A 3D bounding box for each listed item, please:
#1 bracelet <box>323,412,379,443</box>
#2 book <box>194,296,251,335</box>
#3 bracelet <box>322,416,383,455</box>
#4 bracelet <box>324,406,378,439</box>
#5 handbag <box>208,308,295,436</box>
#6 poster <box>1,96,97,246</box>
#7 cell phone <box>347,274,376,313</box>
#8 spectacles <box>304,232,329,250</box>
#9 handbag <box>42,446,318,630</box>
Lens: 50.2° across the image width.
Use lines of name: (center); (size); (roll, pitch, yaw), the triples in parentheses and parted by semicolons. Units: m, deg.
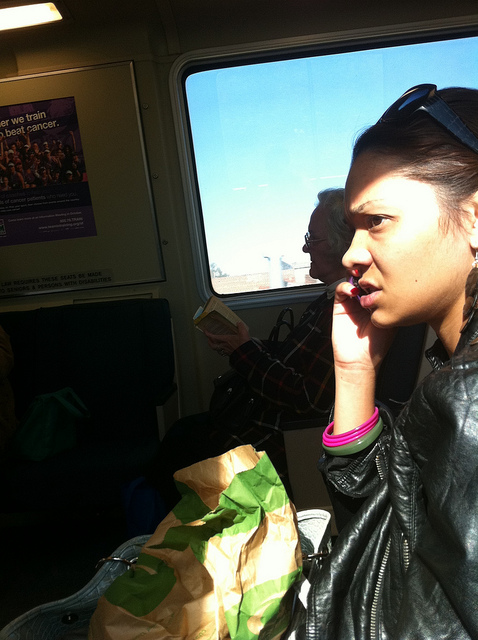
bracelet: (0.241, 0.244, 1.151); (0.122, 0.059, 0.110); (-1, 8, -5)
book: (-0.062, -0.019, 2.302); (0.188, 0.104, 0.067); (29, 10, -39)
bracelet: (0.255, 0.255, 1.092); (0.143, 0.056, 0.075); (-11, 11, -4)
bracelet: (0.242, 0.233, 1.152); (0.124, 0.064, 0.120); (1, 10, 5)
handbag: (0.026, 0.232, 2.222); (0.375, 0.451, 0.438); (-8, 11, 19)
poster: (-1.045, -0.760, 2.648); (0.560, 0.712, 0.065); (-10, 11, 9)
cell phone: (0.269, -0.055, 1.114); (0.022, 0.081, 0.062); (-48, 42, -2)
spectacles: (0.331, -0.356, 2.292); (0.059, 0.068, 0.188); (-13, 11, -10)
handbag: (-0.128, 0.323, 1.033); (0.402, 0.163, 0.459); (-32, 6, -7)
